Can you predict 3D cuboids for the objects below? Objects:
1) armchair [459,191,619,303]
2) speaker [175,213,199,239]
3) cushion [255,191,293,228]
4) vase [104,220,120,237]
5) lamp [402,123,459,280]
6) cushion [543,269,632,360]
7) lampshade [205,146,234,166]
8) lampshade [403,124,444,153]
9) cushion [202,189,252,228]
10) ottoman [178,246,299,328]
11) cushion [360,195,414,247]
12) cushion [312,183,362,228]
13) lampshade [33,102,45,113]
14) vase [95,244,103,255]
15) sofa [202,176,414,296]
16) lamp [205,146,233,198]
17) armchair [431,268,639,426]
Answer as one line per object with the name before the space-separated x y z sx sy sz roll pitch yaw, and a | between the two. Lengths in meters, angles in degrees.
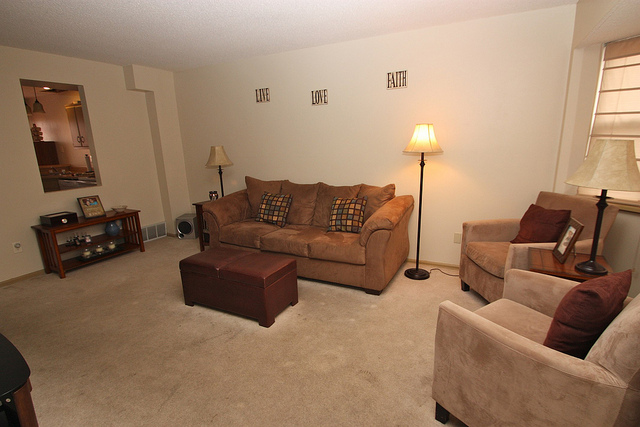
armchair | 2.360 0.414 4.803 1.245 1.324 1.341 -4 14 -7
speaker | -2.184 0.214 6.873 0.367 0.368 0.295 -5 13 -7
cushion | -0.629 -0.062 5.750 0.466 0.446 0.144 7 -11 32
vase | -3.057 0.210 6.202 0.226 0.446 0.223 0 0 -27
lamp | 1.346 -0.175 5.189 0.527 1.908 0.537 5 15 29
cushion | 1.995 0.778 3.149 0.596 0.448 0.268 -6 12 -37
lampshade | -1.504 -0.839 6.251 0.307 0.201 0.308 2 13 30
lampshade | 1.223 -0.902 5.004 0.432 0.303 0.429 19 27 27
cushion | -1.383 -0.097 5.934 0.499 0.496 0.613 10 17 33
ottoman | -0.898 0.787 4.694 1.155 0.671 0.522 2 15 23
cushion | 0.810 0.008 4.901 0.554 0.596 0.852 7 17 33
cushion | 0.235 -0.064 5.709 0.183 0.573 0.615 16 -6 -42
lampshade | -4.938 -1.851 7.399 0.177 0.193 0.184 -5 16 -20
vase | -3.082 0.513 5.859 0.108 0.119 0.103 9 9 40
sofa | -0.191 0.180 5.682 2.728 1.143 1.202 5 17 28
lamp | -1.519 -0.520 6.435 0.373 0.976 0.335 5 18 27
armchair | 1.668 1.051 3.211 1.168 0.803 1.759 7 18 22
